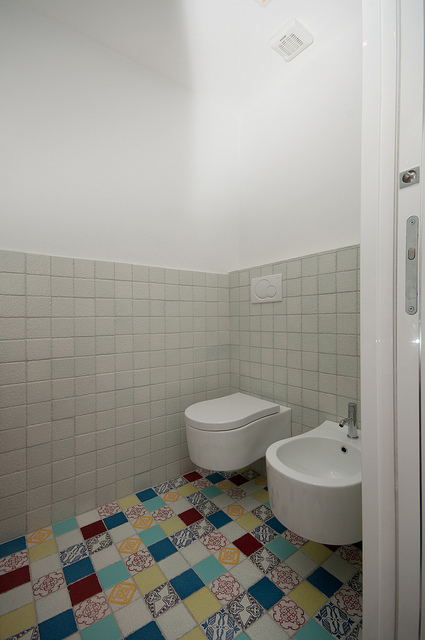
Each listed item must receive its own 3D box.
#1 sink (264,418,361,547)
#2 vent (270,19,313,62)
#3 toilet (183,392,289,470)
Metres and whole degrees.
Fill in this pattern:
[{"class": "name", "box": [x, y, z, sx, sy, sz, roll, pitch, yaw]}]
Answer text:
[{"class": "sink", "box": [0.447, 0.600, 1.586, 0.510, 0.229, 0.388, -10, 12, -41]}, {"class": "vent", "box": [0.369, -1.305, 1.928, 0.183, 0.043, 0.204, 4, -10, -15]}, {"class": "toilet", "box": [0.109, 0.557, 2.071, 0.479, 0.286, 0.361, -6, 5, -36]}]
